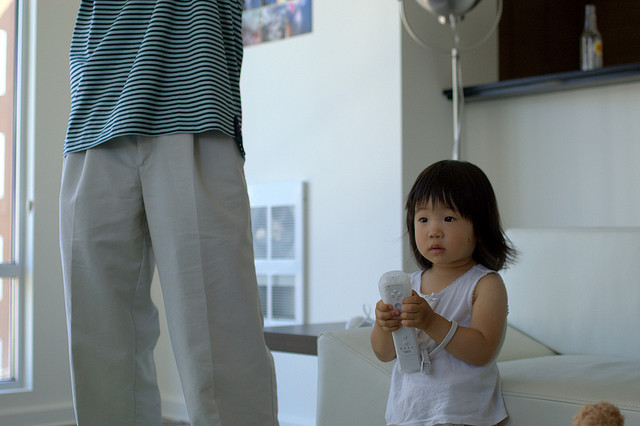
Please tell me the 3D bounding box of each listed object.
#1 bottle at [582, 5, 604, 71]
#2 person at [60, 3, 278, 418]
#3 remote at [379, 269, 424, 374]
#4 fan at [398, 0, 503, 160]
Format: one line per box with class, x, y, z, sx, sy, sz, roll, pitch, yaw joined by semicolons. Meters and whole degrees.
bottle;1.309;-0.853;2.805;0.083;0.315;0.368;-3;0;25
person;-0.407;-0.021;1.525;0.514;1.100;0.266;-3;0;-15
remote;0.219;0.286;1.516;0.098;0.263;0.126;-3;0;15
fan;0.551;-0.563;2.431;0.409;0.657;0.836;-3;0;9
